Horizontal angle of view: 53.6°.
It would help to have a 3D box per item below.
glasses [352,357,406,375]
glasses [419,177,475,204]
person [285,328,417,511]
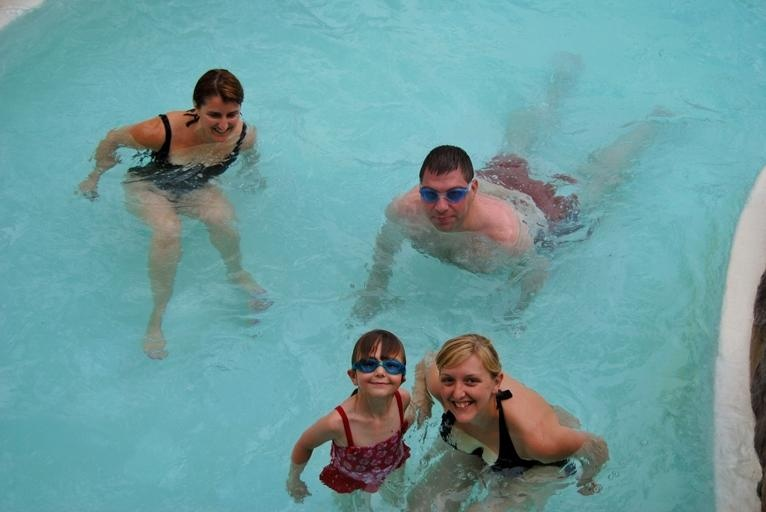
[{"bbox_3d":[-0.045,0.810,5.578,0.381,0.146,0.099,-1,26,-1],"label":"glasses"},{"bbox_3d":[0.514,-0.518,6.298,0.422,0.152,0.125,-2,25,-4],"label":"glasses"},{"bbox_3d":[-0.210,1.258,5.704,0.974,1.332,0.404,-13,29,-23],"label":"person"}]
